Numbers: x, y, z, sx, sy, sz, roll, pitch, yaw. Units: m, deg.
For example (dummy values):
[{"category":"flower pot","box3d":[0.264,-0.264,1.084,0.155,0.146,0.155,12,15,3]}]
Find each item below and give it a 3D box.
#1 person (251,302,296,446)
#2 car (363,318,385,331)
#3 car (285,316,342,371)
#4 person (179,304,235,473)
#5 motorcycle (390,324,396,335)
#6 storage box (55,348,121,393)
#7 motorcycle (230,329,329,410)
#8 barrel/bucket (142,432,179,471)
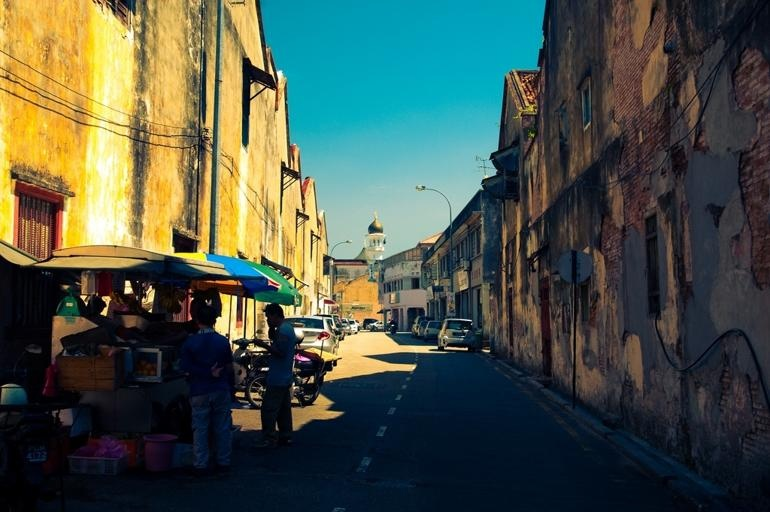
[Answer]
[{"category":"person","box3d":[-2.014,2.125,15.428,0.738,2.547,0.859,0,-5,24]},{"category":"car","box3d":[-1.404,7.462,91.976,1.132,0.924,1.773,3,-9,-37]},{"category":"car","box3d":[-2.320,2.636,26.894,1.123,1.019,2.715,2,-4,5]},{"category":"person","box3d":[-2.904,2.143,13.755,0.842,2.657,0.375,2,-9,-16]},{"category":"motorcycle","box3d":[0.821,7.016,82.054,0.378,0.835,2.196,1,-11,-7]},{"category":"storage box","box3d":[-4.838,1.741,13.952,0.816,0.593,0.819,2,20,-8]},{"category":"motorcycle","box3d":[-2.398,2.743,19.744,2.046,1.565,1.274,5,-13,-11]},{"category":"barrel/bucket","box3d":[-3.724,3.210,13.841,0.557,0.515,0.588,4,-3,0]}]
